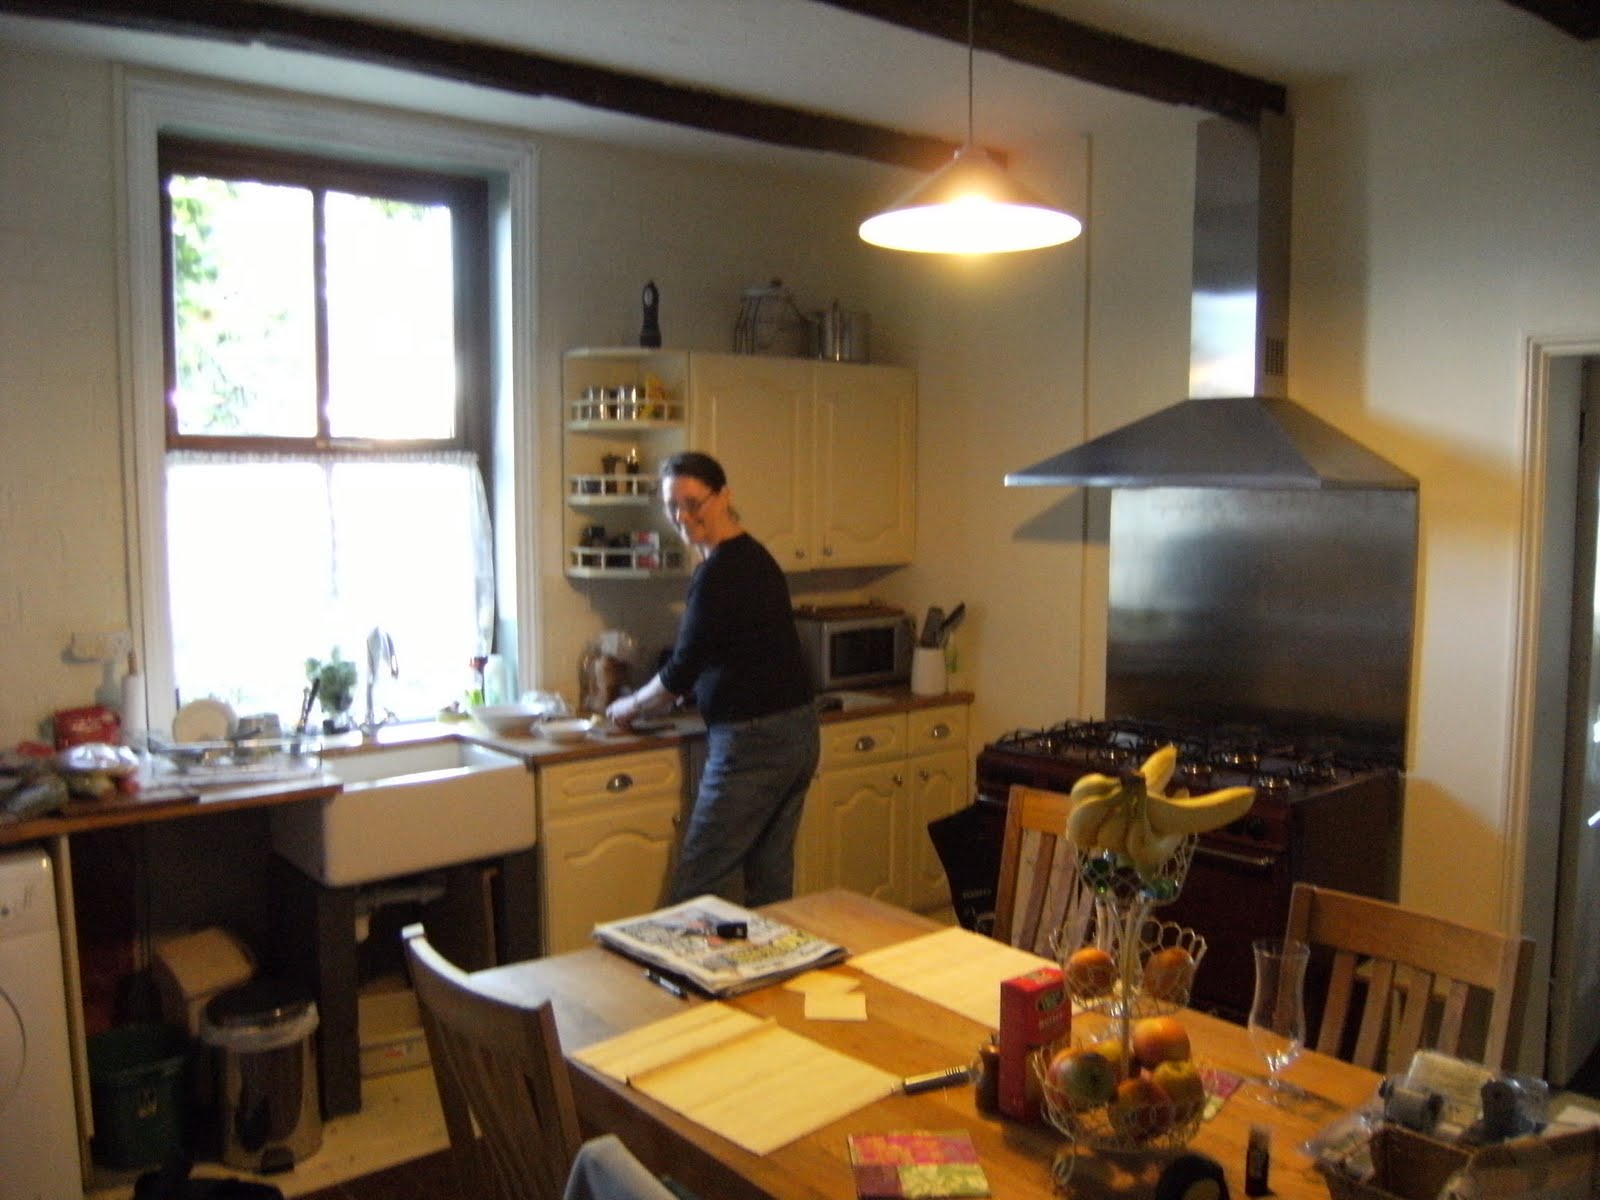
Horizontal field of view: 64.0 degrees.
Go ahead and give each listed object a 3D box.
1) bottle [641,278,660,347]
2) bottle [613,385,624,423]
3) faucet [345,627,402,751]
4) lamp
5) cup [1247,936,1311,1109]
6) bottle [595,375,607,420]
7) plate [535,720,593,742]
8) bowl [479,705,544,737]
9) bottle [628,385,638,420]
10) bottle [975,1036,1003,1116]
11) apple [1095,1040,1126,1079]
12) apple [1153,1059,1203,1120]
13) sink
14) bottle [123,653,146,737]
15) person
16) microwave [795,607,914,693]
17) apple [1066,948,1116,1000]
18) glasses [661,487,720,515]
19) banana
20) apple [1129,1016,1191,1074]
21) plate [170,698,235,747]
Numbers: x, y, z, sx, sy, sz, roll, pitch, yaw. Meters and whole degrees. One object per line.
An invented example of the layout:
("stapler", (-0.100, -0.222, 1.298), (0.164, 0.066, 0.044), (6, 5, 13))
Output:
("bottle", (-0.589, -1.111, 5.019), (0.079, 0.284, 0.292), (-2, 5, -5))
("bottle", (-0.676, -0.735, 4.818), (0.055, 0.118, 0.033), (-2, 6, 3))
("faucet", (-1.519, 0.282, 4.625), (0.142, 0.378, 0.376), (-4, 5, -16))
("lamp", (0.481, -1.298, 3.405), (0.510, 0.825, 1.144), (-1, 5, 14))
("cup", (0.935, 0.789, 2.502), (0.099, 0.261, 0.234), (0, 6, 22))
("bottle", (-0.746, -0.738, 4.819), (0.050, 0.125, 0.040), (-3, 6, -10))
("plate", (-0.810, 0.446, 4.456), (0.097, 0.028, 0.098), (-5, 10, -34))
("bowl", (-1.057, 0.428, 4.601), (0.132, 0.049, 0.114), (-3, 8, -38))
("bottle", (-0.627, -0.740, 4.817), (0.051, 0.118, 0.037), (-4, 6, -18))
("bottle", (0.364, 0.916, 2.490), (0.050, 0.134, 0.057), (-1, 6, 8))
("apple", (0.576, 0.835, 2.335), (0.053, 0.055, 0.053), (24, 52, 3))
("apple", (0.664, 0.853, 2.281), (0.084, 0.086, 0.085), (-8, 6, 8))
("sink", (-1.309, 0.668, 4.216), (0.586, 0.304, 0.448), (-5, 9, -39))
("bottle", (-2.137, 0.300, 4.099), (0.071, 0.264, 0.159), (-5, 6, -28))
("person", (-0.240, 0.283, 4.379), (0.539, 1.567, 0.347), (-4, 6, -22))
("microwave", (0.216, 0.102, 5.331), (0.468, 0.315, 0.332), (-6, 6, -40))
("apple", (0.582, 0.750, 2.631), (0.090, 0.095, 0.110), (7, 35, 0))
("glasses", (-0.346, -0.339, 4.228), (0.206, 0.134, 0.099), (-3, 5, -4))
("banana", (0.646, 0.371, 2.332), (0.267, 0.145, 0.232), (-6, 3, 30))
("apple", (0.682, 0.816, 2.399), (0.090, 0.093, 0.090), (-15, -13, -39))
("plate", (-1.924, 0.382, 4.124), (0.181, 0.131, 0.108), (-5, 6, -29))
